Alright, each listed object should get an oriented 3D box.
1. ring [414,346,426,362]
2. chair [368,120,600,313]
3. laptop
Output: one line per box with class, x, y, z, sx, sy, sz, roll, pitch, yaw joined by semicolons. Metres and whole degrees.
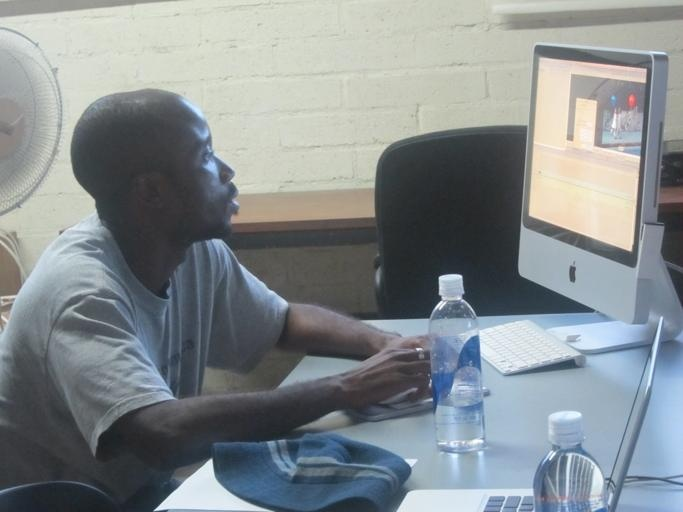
ring;0.168;0.208;1.944;0.020;0.016;0.039;0;0;-3
chair;0.374;-0.117;2.622;0.428;0.659;0.517;0;6;2
laptop;0.333;0.307;1.588;0.366;0.287;0.354;0;4;8
